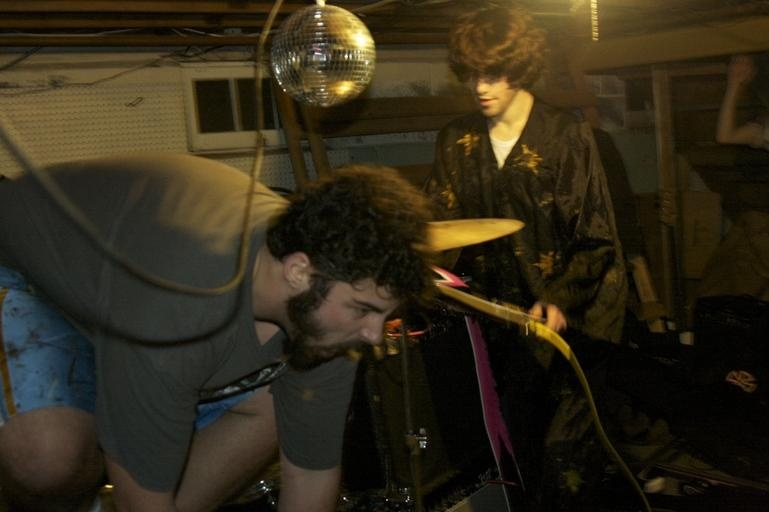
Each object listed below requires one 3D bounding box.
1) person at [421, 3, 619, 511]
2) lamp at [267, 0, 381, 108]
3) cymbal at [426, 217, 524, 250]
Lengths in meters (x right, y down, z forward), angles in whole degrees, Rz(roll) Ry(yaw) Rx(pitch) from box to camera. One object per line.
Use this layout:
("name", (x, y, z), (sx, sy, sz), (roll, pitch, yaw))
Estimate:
("person", (0.919, -0.101, 4.163), (1.012, 2.902, 1.206), (-8, 10, -16))
("lamp", (-0.297, -1.106, 3.742), (0.586, 0.600, 0.518), (-2, 17, -8))
("cymbal", (0.494, -0.124, 3.778), (0.799, 0.196, 0.029), (-11, 49, -47))
